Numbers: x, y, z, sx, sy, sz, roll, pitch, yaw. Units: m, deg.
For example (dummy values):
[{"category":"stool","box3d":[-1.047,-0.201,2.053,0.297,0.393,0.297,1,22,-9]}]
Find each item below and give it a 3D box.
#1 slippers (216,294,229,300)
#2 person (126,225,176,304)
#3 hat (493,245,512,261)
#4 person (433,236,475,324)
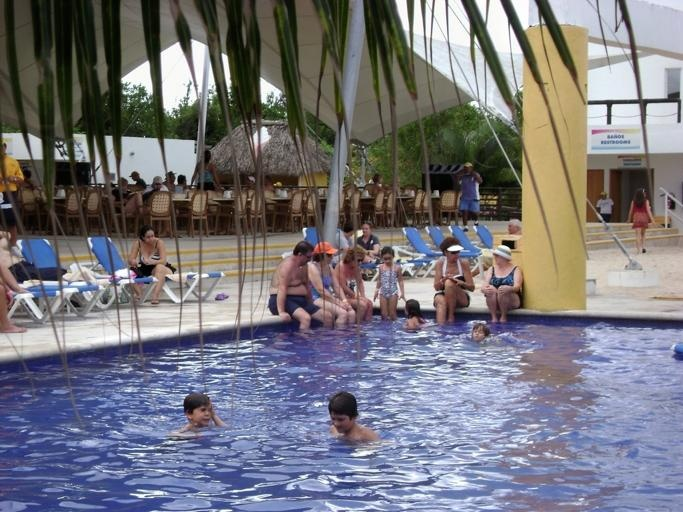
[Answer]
[{"category":"slippers","box3d":[-1.986,0.673,12.007,0.124,0.067,0.133,-5,4,10]},{"category":"person","box3d":[-2.952,0.108,11.252,0.672,1.181,0.812,-1,5,2]},{"category":"hat","box3d":[2.256,-0.053,10.248,0.231,0.095,0.207,25,3,10]},{"category":"person","box3d":[1.603,0.317,10.489,0.550,1.192,0.833,1,5,9]}]
